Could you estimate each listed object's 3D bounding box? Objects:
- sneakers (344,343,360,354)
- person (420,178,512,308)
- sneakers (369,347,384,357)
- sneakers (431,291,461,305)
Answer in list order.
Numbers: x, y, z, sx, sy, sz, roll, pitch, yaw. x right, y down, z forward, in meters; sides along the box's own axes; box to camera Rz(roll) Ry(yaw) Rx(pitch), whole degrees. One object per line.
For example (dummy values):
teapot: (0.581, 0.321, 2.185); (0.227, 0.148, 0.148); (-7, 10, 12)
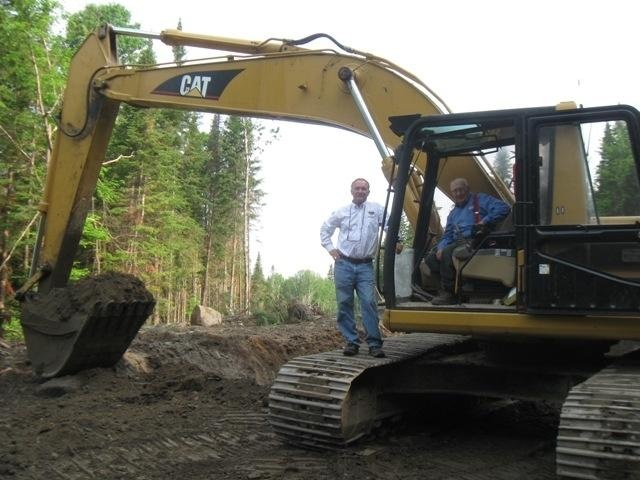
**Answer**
sneakers: (0.381, 1.263, 6.148); (0.082, 0.099, 0.230); (-3, -17, 19)
person: (1.634, -0.010, 6.129); (0.829, 1.582, 0.817); (1, -14, -12)
sneakers: (0.657, 1.251, 5.969); (0.067, 0.087, 0.203); (3, -17, -13)
sneakers: (1.385, 0.635, 5.844); (0.326, 0.143, 0.123); (3, -5, 3)
